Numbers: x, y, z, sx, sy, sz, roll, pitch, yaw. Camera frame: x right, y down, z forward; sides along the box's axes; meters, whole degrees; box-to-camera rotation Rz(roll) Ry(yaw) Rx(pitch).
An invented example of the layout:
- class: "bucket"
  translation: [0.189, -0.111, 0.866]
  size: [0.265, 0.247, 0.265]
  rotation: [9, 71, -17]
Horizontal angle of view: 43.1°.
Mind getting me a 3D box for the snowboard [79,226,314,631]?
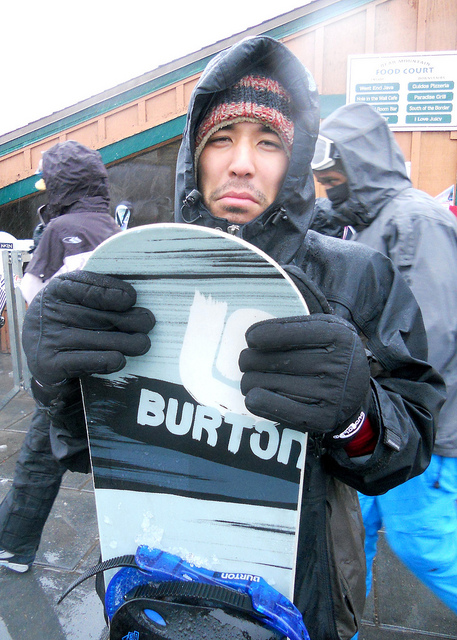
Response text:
- class: "snowboard"
  translation: [-0.090, 0.240, 1.226]
  size: [0.542, 0.863, 0.234]
  rotation: [3, 11, 8]
